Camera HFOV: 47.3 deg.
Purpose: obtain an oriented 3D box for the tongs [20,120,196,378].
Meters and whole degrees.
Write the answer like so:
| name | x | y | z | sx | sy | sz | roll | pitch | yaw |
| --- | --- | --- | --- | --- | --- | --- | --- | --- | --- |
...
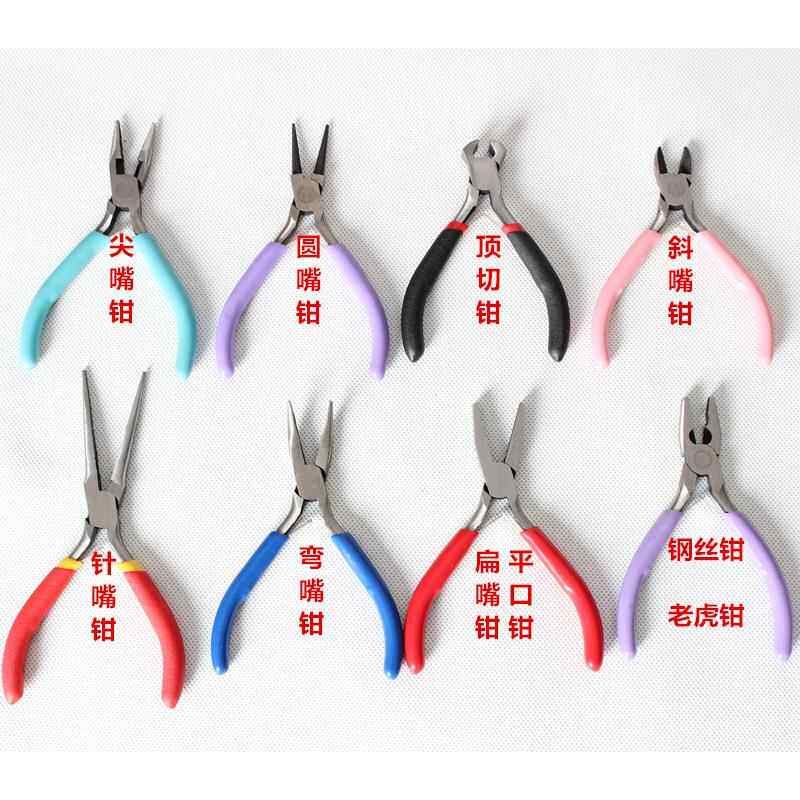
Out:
| name | x | y | z | sx | sy | sz | roll | pitch | yaw |
| --- | --- | --- | --- | --- | --- | --- | --- | --- | --- |
| tongs | -0.492 | -0.233 | 1.535 | 0.328 | 0.643 | 0.058 | 3 | -2 | -2 |

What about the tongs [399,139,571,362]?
| name | x | y | z | sx | sy | sz | roll | pitch | yaw |
| --- | --- | --- | --- | --- | --- | --- | --- | --- | --- |
| tongs | 0.135 | -0.234 | 1.529 | 0.305 | 0.524 | 0.051 | 0 | -8 | 2 |

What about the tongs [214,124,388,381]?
| name | x | y | z | sx | sy | sz | roll | pitch | yaw |
| --- | --- | --- | --- | --- | --- | --- | --- | --- | --- |
| tongs | -0.166 | -0.227 | 1.530 | 0.350 | 0.648 | 0.061 | 0 | -2 | -2 |

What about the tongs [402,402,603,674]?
| name | x | y | z | sx | sy | sz | roll | pitch | yaw |
| --- | --- | --- | --- | --- | --- | --- | --- | --- | --- |
| tongs | 0.172 | 0.220 | 1.483 | 0.319 | 0.447 | 0.120 | 1 | -6 | 10 |

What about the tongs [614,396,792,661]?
| name | x | y | z | sx | sy | sz | roll | pitch | yaw |
| --- | --- | --- | --- | --- | --- | --- | --- | --- | --- |
| tongs | 0.501 | 0.207 | 1.486 | 0.302 | 0.421 | 0.068 | 2 | -6 | -2 |

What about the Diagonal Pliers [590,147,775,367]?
| name | x | y | z | sx | sy | sz | roll | pitch | yaw |
| --- | --- | --- | --- | --- | --- | --- | --- | --- | --- |
| Diagonal Pliers | 0.473 | -0.242 | 1.526 | 0.310 | 0.381 | 0.061 | 2 | -6 | -2 |
